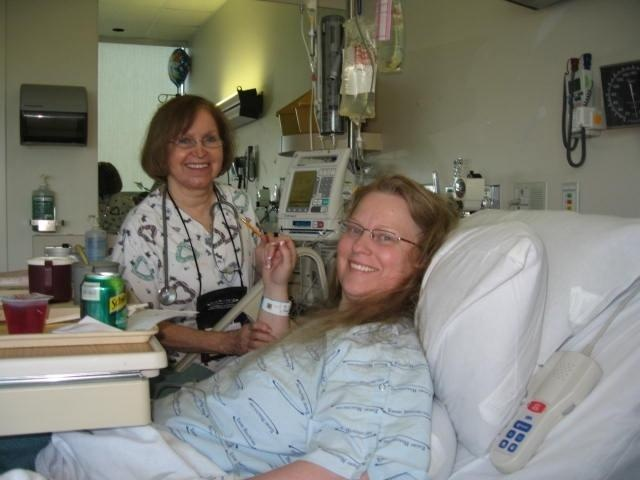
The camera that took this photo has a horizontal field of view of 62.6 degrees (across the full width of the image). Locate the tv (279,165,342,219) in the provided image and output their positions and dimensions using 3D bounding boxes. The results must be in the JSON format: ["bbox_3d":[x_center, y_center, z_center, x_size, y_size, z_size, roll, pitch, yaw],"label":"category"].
[{"bbox_3d":[-0.063,-0.287,3.152,0.324,0.313,0.077,3,-11,40],"label":"tv"}]

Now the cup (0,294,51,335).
[{"bbox_3d":[-0.769,0.192,1.379,0.108,0.101,0.109,-1,-2,0],"label":"cup"}]

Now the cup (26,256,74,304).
[{"bbox_3d":[-0.989,0.152,1.945,0.170,0.190,0.176,0,0,0],"label":"cup"}]

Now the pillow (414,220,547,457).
[{"bbox_3d":[0.422,0.279,1.455,0.328,0.597,0.198,3,6,29],"label":"pillow"}]
